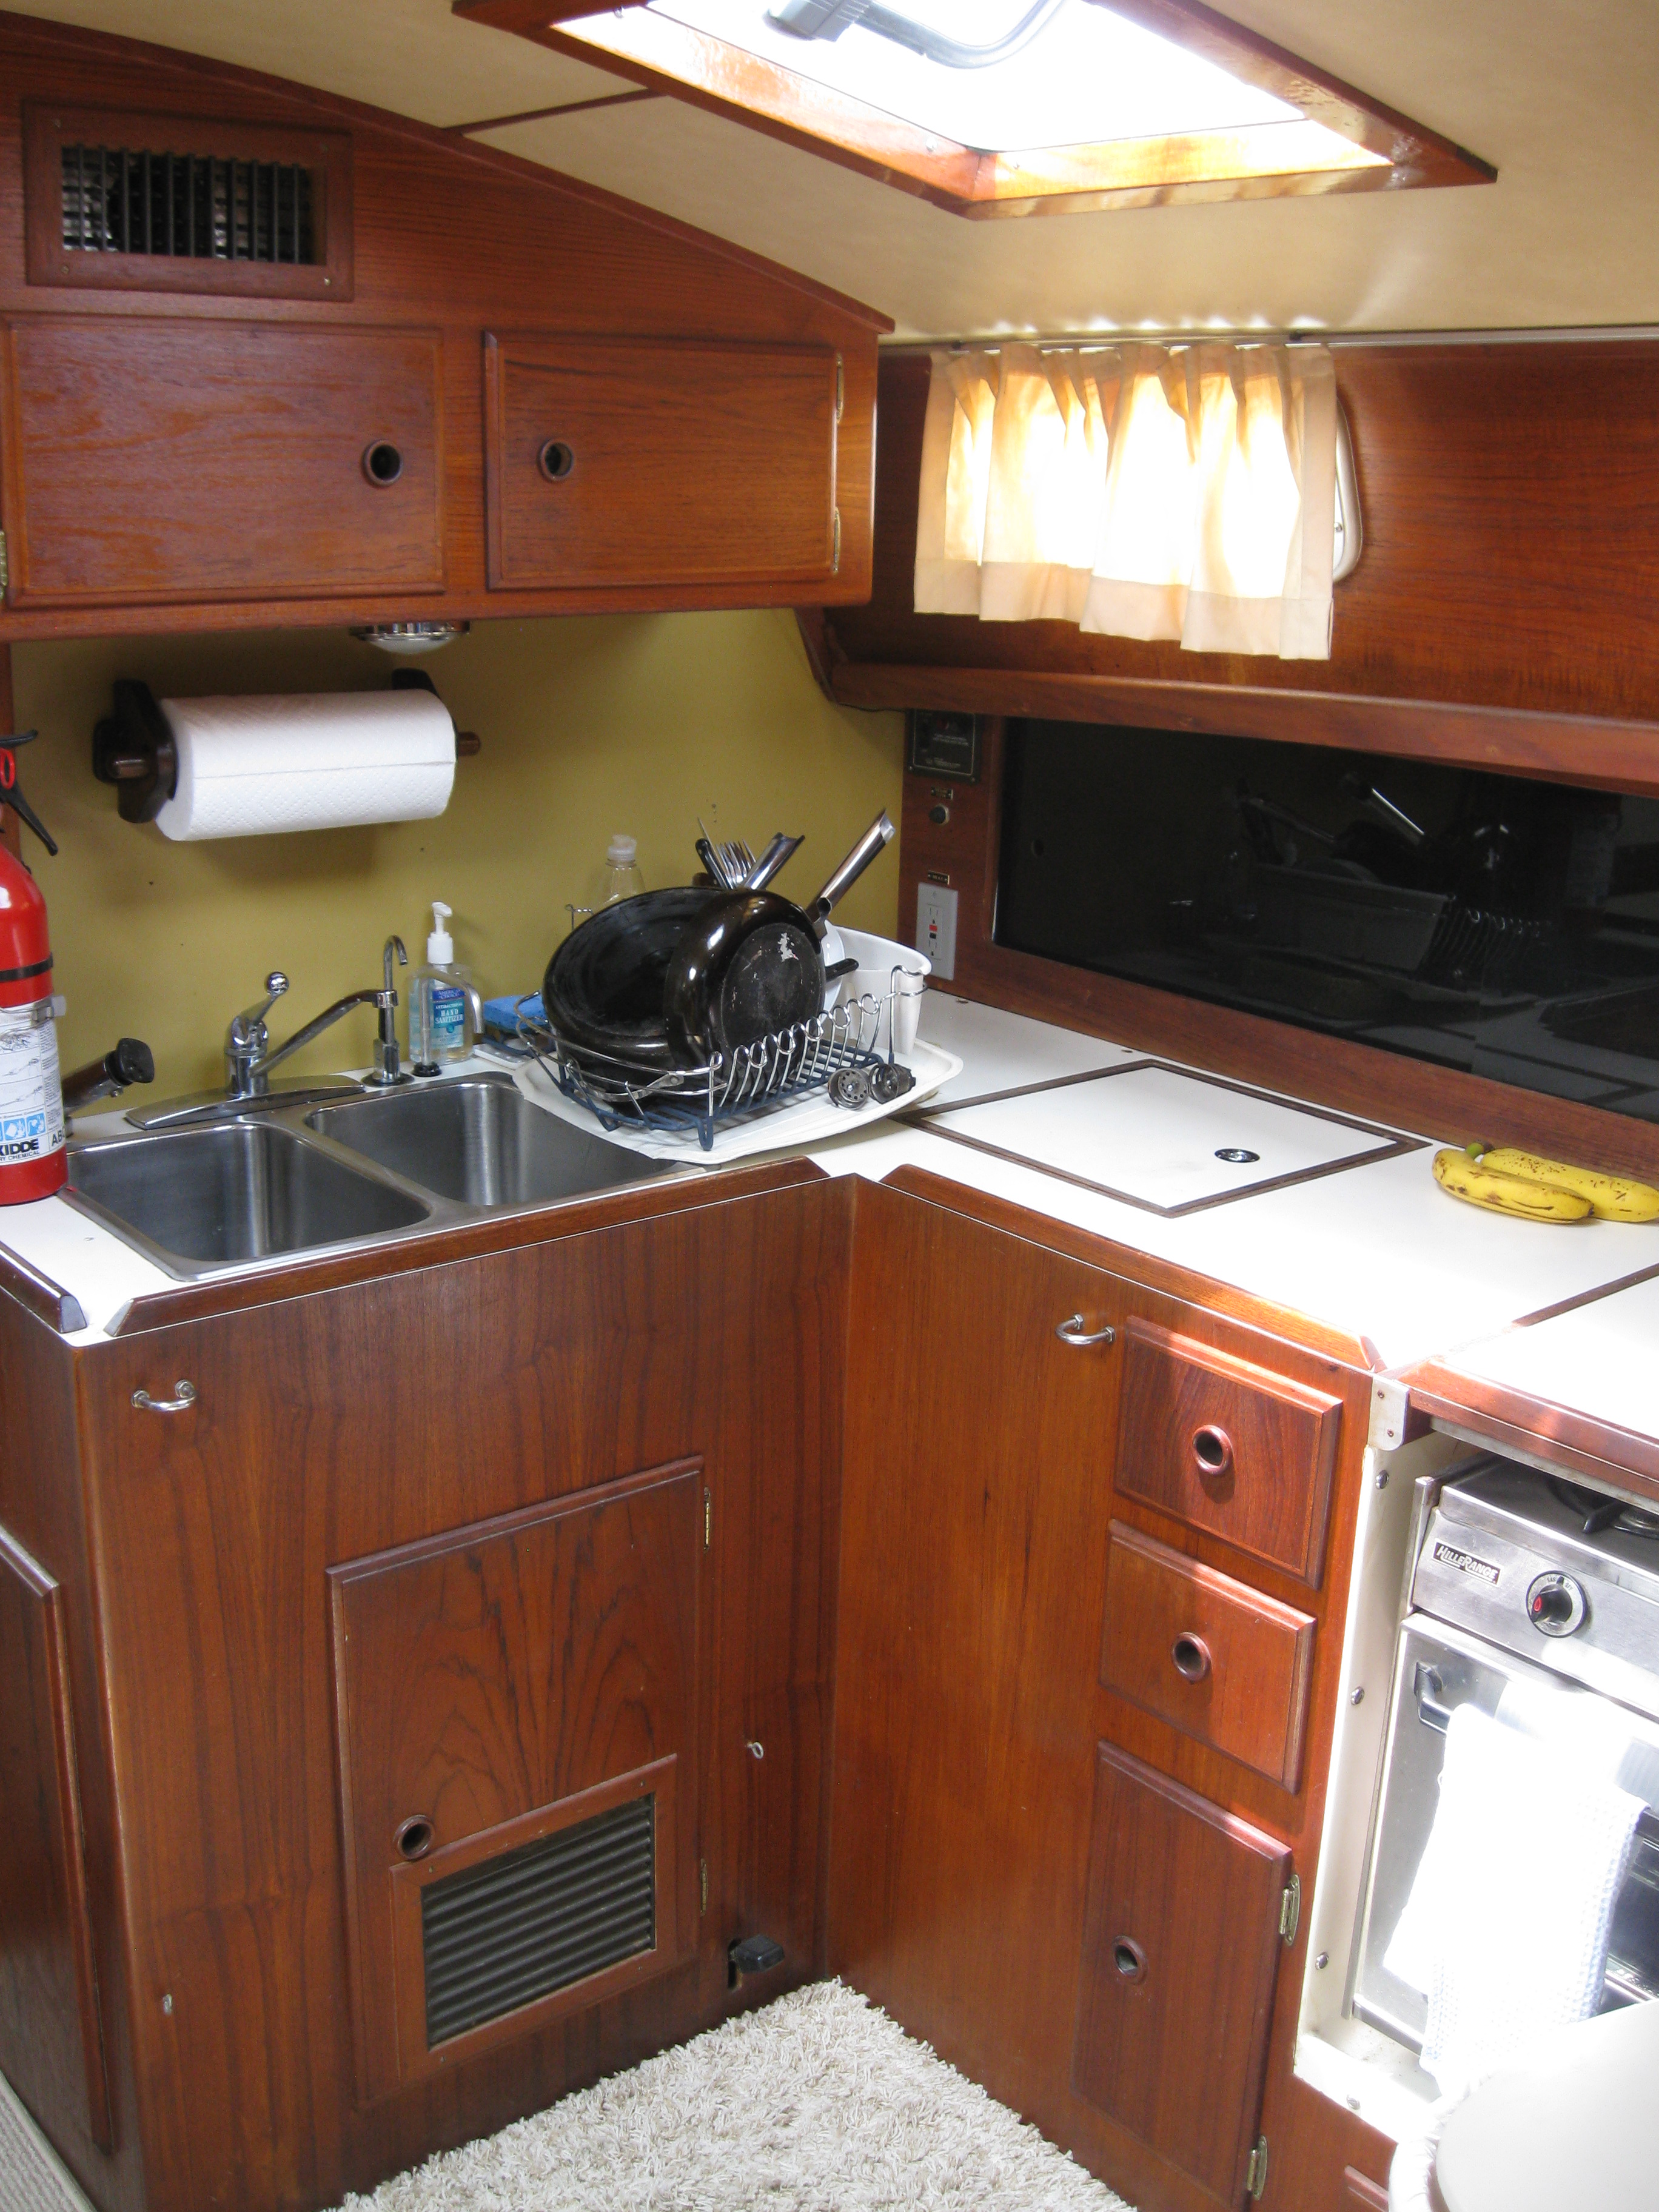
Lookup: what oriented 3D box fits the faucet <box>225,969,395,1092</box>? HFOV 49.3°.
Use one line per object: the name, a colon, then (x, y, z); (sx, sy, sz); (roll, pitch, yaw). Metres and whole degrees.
faucet: (-0.559, -0.083, 1.932); (0.179, 0.125, 0.053); (-19, 33, -38)
